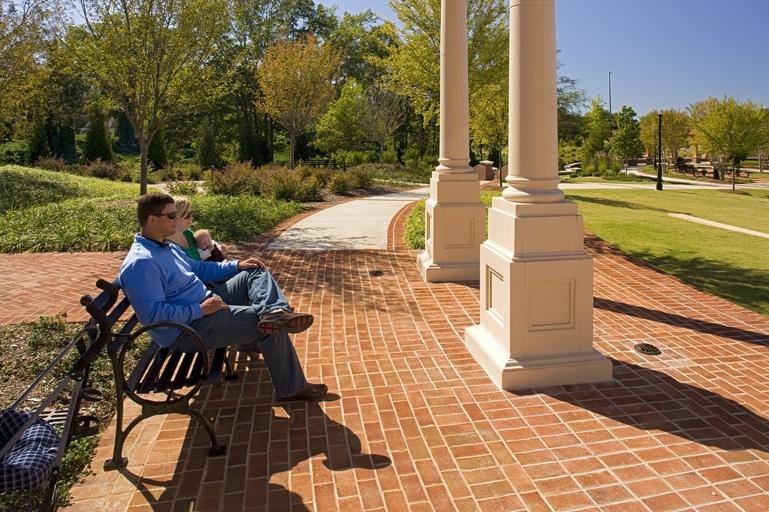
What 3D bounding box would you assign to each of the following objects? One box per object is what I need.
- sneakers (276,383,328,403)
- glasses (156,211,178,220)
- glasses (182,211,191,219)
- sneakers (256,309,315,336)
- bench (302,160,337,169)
[{"bbox_3d":[-0.824,1.383,5.319,0.496,0.199,0.195,-5,10,-13],"label":"sneakers"},{"bbox_3d":[-2.037,-0.371,4.906,0.148,0.066,0.029,-5,13,-34],"label":"glasses"},{"bbox_3d":[-2.266,-0.454,6.019,0.077,0.021,0.077,-16,17,22],"label":"glasses"},{"bbox_3d":[-0.903,0.626,4.851,0.493,0.231,0.229,1,11,-4],"label":"sneakers"},{"bbox_3d":[-4.707,-7.190,41.131,2.270,0.551,11.067,1,10,-6],"label":"bench"}]
